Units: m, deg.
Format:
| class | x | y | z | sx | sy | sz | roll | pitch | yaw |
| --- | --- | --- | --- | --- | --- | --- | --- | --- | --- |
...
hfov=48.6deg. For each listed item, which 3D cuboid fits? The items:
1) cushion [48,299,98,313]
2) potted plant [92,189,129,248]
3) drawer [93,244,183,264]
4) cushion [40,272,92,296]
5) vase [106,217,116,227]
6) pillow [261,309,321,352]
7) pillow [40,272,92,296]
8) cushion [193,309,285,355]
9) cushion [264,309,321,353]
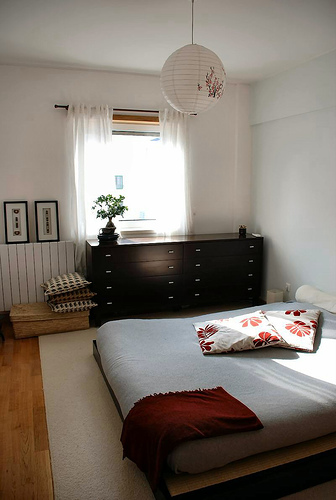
| class | x | y | z | sx | sy | sz | roll | pitch | yaw |
| --- | --- | --- | --- | --- | --- | --- | --- | --- | --- |
| cushion | -0.923 | 0.551 | 3.607 | 0.444 | 0.097 | 0.116 | -1 | 8 | -11 |
| potted plant | -0.591 | -0.350 | 3.879 | 0.311 | 0.479 | 0.243 | 7 | 13 | 17 |
| drawer | -0.290 | 0.042 | 3.802 | 0.948 | 0.160 | 0.032 | -3 | 8 | -23 |
| cushion | -1.040 | 0.270 | 3.785 | 0.475 | 0.215 | 0.391 | -4 | 14 | -36 |
| vase | -0.586 | -0.281 | 3.826 | 0.084 | 0.089 | 0.084 | 9 | 11 | 40 |
| pillow | 0.872 | 0.566 | 2.680 | 0.473 | 0.091 | 0.667 | -6 | 13 | 22 |
| pillow | -1.012 | 0.334 | 3.684 | 0.469 | 0.259 | 0.353 | -4 | 8 | -28 |
| cushion | 0.459 | 0.506 | 2.550 | 0.543 | 0.180 | 0.482 | -1 | 8 | -6 |
| cushion | 0.864 | 0.540 | 2.603 | 0.285 | 0.187 | 0.359 | 7 | 9 | 15 |
